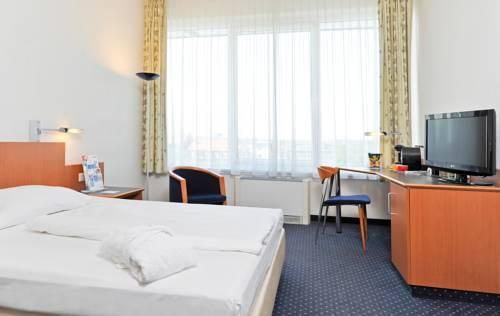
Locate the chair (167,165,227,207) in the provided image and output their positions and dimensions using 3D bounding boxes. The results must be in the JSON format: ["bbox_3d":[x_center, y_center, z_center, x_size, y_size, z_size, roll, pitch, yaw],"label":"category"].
[{"bbox_3d":[-0.814,0.430,5.638,0.676,0.779,0.676,4,-8,-39],"label":"chair"}]

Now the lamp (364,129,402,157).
[{"bbox_3d":[2.066,-0.327,5.554,0.535,0.201,0.448,6,16,22],"label":"lamp"}]

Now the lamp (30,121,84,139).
[{"bbox_3d":[-2.549,-0.354,4.591,0.324,0.161,0.294,1,0,-3],"label":"lamp"}]

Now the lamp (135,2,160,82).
[{"bbox_3d":[-1.678,-1.928,5.885,0.333,1.343,1.168,-4,14,-13],"label":"lamp"}]

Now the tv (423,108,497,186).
[{"bbox_3d":[2.389,-0.113,4.064,0.183,0.777,0.828,-3,4,-17],"label":"tv"}]

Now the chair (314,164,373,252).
[{"bbox_3d":[1.287,0.660,5.142,1.017,1.520,0.932,-1,-1,18],"label":"chair"}]
